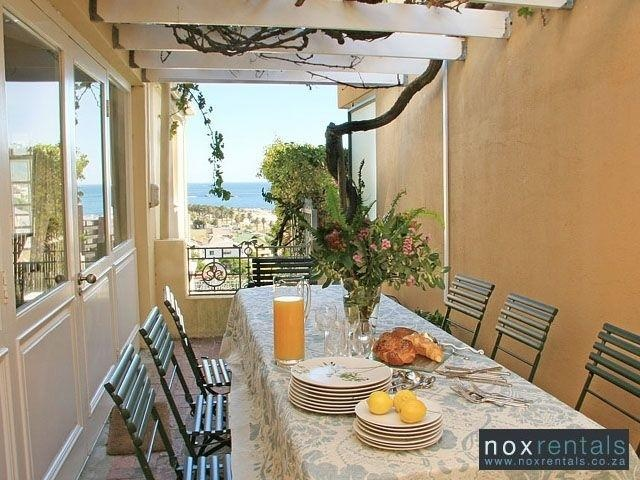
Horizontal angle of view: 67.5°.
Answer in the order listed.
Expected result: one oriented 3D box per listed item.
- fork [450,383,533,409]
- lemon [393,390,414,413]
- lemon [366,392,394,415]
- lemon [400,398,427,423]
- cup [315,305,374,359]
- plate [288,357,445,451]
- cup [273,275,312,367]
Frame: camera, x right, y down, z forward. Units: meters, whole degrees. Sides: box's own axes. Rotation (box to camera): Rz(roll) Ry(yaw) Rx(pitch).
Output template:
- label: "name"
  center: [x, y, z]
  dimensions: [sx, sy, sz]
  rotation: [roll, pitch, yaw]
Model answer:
- label: "fork"
  center: [0.606, 0.554, 1.713]
  dimensions: [0.267, 0.051, 0.085]
  rotation: [3, 9, 6]
- label: "lemon"
  center: [0.248, 0.500, 1.487]
  dimensions: [0.056, 0.075, 0.063]
  rotation: [-7, 25, -12]
- label: "lemon"
  center: [0.181, 0.502, 1.469]
  dimensions: [0.074, 0.065, 0.059]
  rotation: [1, -1, 2]
- label: "lemon"
  center: [0.272, 0.508, 1.420]
  dimensions: [0.070, 0.060, 0.055]
  rotation: [-3, -3, -16]
- label: "cup"
  center: [0.080, 0.352, 2.027]
  dimensions: [0.190, 0.233, 0.229]
  rotation: [1, 5, -17]
- label: "plate"
  center: [0.147, 0.512, 1.642]
  dimensions: [0.337, 0.135, 0.585]
  rotation: [-12, 15, -43]
- label: "cup"
  center: [-0.127, 0.337, 2.059]
  dimensions: [0.133, 0.345, 0.155]
  rotation: [2, 6, -8]
